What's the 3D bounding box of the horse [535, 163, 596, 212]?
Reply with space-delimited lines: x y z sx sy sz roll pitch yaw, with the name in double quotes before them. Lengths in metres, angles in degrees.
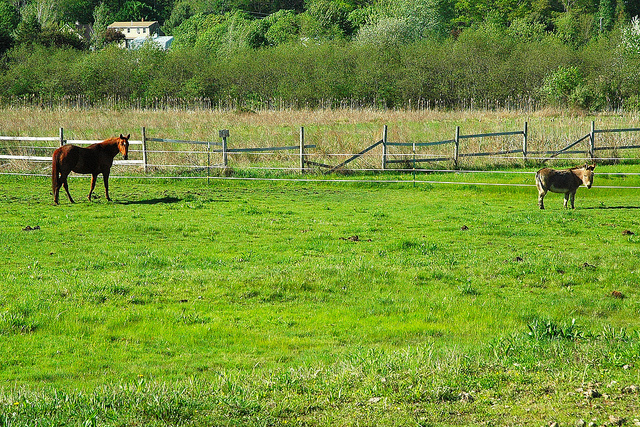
"horse" 22.152 -2.432 119.530 6.051 4.079 1.619 0 0 -15
